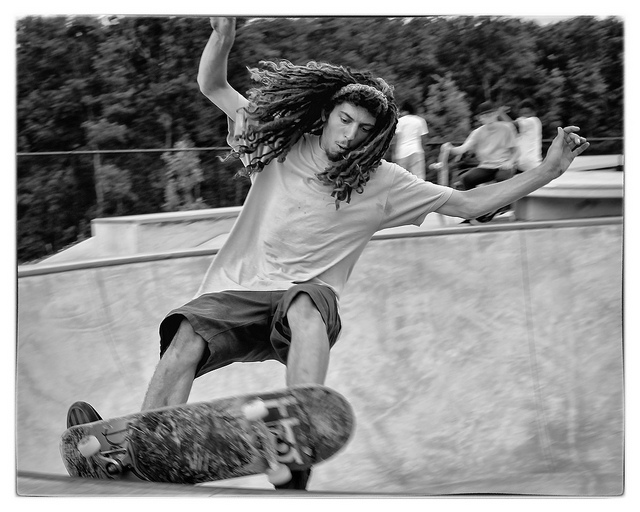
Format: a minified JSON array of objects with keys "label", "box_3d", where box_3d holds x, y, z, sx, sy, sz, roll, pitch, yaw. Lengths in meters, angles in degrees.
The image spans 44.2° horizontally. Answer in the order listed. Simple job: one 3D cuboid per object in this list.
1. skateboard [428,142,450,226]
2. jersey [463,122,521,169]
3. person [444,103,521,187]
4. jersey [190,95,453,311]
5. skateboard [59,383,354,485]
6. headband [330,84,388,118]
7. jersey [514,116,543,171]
[{"label":"skateboard","box_3d":[1.007,-0.625,6.728,0.227,0.616,0.115,-31,45,-31]},{"label":"jersey","box_3d":[1.438,-0.924,6.623,0.484,0.353,0.240,-2,24,21]},{"label":"person","box_3d":[1.414,-0.853,6.510,0.693,0.691,0.481,-11,22,-18]},{"label":"jersey","box_3d":[0.095,-0.245,4.631,1.320,0.838,1.320,14,27,7]},{"label":"skateboard","box_3d":[-0.583,0.938,4.010,1.805,0.382,0.232,-14,-18,26]},{"label":"headband","box_3d":[0.210,-0.821,4.111,0.245,0.176,0.055,1,36,5]},{"label":"jersey","box_3d":[1.650,-0.896,6.192,0.234,0.171,0.715,17,-2,13]}]
